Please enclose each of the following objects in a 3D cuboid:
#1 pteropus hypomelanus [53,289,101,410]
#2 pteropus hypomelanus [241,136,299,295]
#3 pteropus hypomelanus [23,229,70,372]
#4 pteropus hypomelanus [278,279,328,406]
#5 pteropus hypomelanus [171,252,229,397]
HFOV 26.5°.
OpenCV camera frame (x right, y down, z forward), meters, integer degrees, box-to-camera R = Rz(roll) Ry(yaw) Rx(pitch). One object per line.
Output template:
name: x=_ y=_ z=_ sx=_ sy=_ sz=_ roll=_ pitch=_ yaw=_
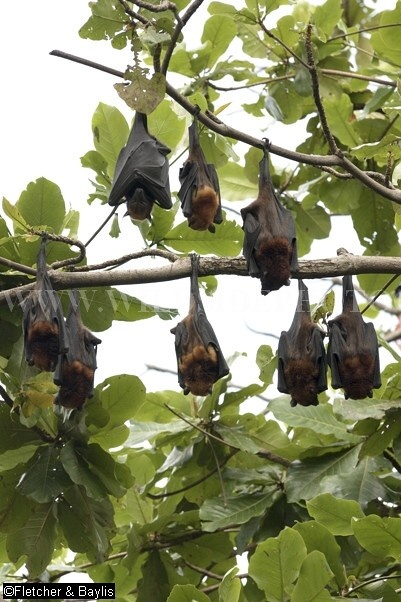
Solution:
pteropus hypomelanus: x=-0.621 y=0.219 z=4.109 sx=0.273 sy=0.654 sz=0.192 roll=20 pitch=-37 yaw=-32
pteropus hypomelanus: x=0.326 y=-0.267 z=4.063 sx=0.247 sy=0.476 sz=0.176 roll=-7 pitch=-40 yaw=9
pteropus hypomelanus: x=-0.729 y=-0.017 z=3.996 sx=0.202 sy=0.761 sz=0.163 roll=-8 pitch=-26 yaw=0
pteropus hypomelanus: x=0.513 y=0.270 z=4.305 sx=0.214 sy=0.447 sz=0.299 roll=9 pitch=-40 yaw=-10
pteropus hypomelanus: x=-0.006 y=0.104 z=3.994 sx=0.263 sy=0.658 sz=0.201 roll=0 pitch=3 yaw=0
